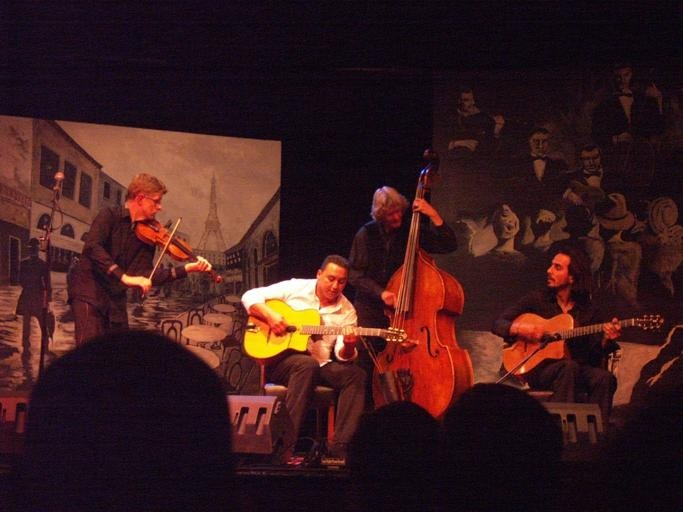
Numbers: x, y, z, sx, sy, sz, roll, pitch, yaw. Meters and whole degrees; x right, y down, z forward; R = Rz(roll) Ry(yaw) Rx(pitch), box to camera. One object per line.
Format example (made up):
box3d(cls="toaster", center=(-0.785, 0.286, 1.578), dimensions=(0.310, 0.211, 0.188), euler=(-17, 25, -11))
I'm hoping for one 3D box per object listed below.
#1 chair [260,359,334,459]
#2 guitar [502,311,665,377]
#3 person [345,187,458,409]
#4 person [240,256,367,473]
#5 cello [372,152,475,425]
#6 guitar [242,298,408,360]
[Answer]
box3d(cls="chair", center=(-0.280, 0.970, 4.881), dimensions=(0.524, 0.659, 0.884), euler=(3, -8, -6))
box3d(cls="guitar", center=(1.762, 0.633, 5.360), dimensions=(1.148, 0.468, 0.145), euler=(-7, -43, 20))
box3d(cls="person", center=(0.517, 0.314, 5.825), dimensions=(0.905, 1.590, 0.543), euler=(-8, -19, 32))
box3d(cls="person", center=(-0.170, 0.685, 5.012), dimensions=(0.808, 1.408, 0.239), euler=(1, -29, 7))
box3d(cls="cello", center=(0.569, 0.368, 5.248), dimensions=(0.720, 1.502, 0.338), euler=(0, -9, 20))
box3d(cls="guitar", center=(-0.129, 0.528, 5.172), dimensions=(1.081, 0.416, 0.137), euler=(5, -34, 2))
